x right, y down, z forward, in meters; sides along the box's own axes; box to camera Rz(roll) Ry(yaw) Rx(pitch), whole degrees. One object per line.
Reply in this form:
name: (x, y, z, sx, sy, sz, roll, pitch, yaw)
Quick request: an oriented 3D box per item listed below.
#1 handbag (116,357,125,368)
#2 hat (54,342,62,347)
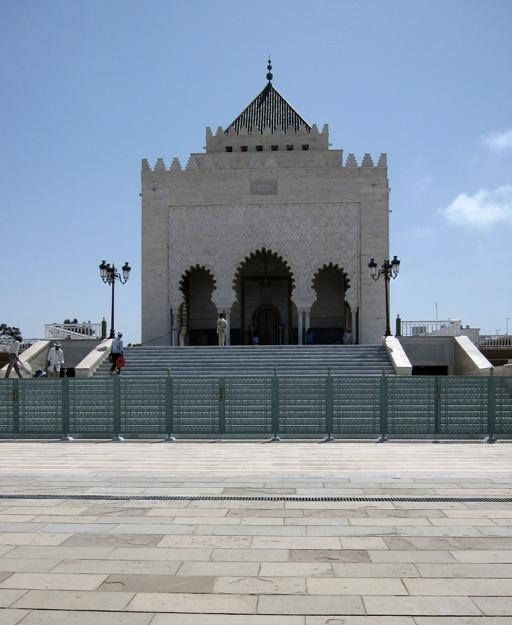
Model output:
handbag: (-2.290, 0.813, 15.444, 0.133, 0.198, 0.259, 3, -4, -15)
hat: (-3.927, 0.609, 18.215, 0.170, 0.059, 0.174, 2, 3, -11)
